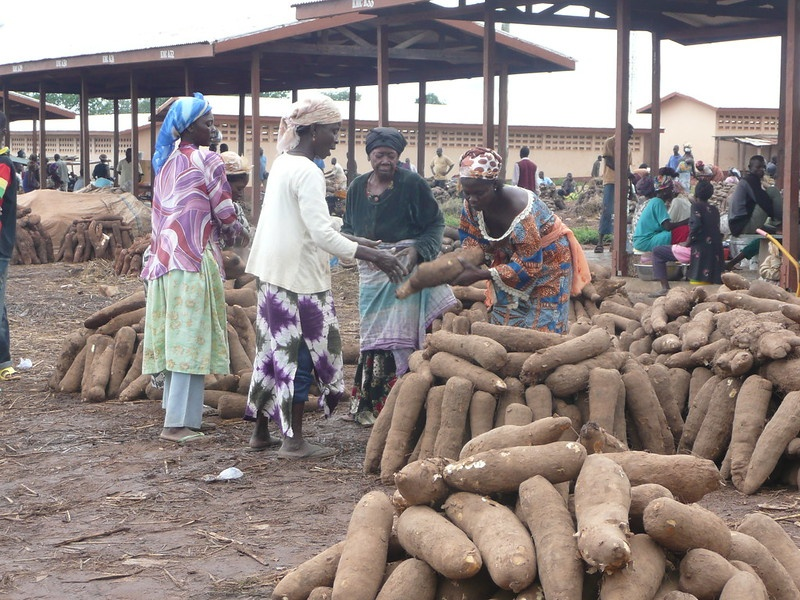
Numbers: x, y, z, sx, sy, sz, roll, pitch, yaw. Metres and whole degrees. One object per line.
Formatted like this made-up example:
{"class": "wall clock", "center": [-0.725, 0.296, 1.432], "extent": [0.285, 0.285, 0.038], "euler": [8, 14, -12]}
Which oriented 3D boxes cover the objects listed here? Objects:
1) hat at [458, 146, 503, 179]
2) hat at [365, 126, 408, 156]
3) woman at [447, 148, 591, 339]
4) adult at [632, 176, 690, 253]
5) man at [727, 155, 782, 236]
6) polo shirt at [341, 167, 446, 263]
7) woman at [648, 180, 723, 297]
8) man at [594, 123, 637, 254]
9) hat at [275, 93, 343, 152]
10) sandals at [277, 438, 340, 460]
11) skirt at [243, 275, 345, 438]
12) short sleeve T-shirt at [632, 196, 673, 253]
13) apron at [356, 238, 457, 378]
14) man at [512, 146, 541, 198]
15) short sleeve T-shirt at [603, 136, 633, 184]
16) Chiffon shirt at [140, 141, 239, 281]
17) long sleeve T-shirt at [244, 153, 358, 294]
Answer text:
{"class": "hat", "center": [0.549, -0.935, 6.180], "extent": [0.184, 0.227, 0.264], "euler": [1, 5, 3]}
{"class": "hat", "center": [-0.112, -1.241, 7.076], "extent": [0.211, 0.168, 0.265], "euler": [2, -1, 6]}
{"class": "woman", "center": [0.834, -0.400, 6.468], "extent": [0.809, 1.390, 0.426], "euler": [-3, 11, 3]}
{"class": "adult", "center": [3.659, -1.086, 12.653], "extent": [0.872, 1.241, 0.824], "euler": [-10, 7, -35]}
{"class": "man", "center": [4.988, -1.458, 12.587], "extent": [0.756, 1.143, 0.565], "euler": [-9, 13, 11]}
{"class": "polo shirt", "center": [-0.111, -0.726, 7.339], "extent": [0.865, 0.810, 0.477], "euler": [6, 18, 17]}
{"class": "woman", "center": [3.690, -0.791, 11.659], "extent": [0.746, 1.506, 0.860], "euler": [-1, 4, -13]}
{"class": "man", "center": [3.896, -2.030, 16.017], "extent": [0.655, 2.258, 0.550], "euler": [-1, 9, -29]}
{"class": "hat", "center": [-0.673, -1.333, 6.584], "extent": [0.446, 0.462, 0.355], "euler": [-4, 24, -7]}
{"class": "sandals", "center": [-0.693, 1.137, 6.829], "extent": [0.452, 0.243, 0.168], "euler": [-3, -3, -2]}
{"class": "skirt", "center": [-0.808, 0.329, 6.925], "extent": [0.643, 1.208, 0.942], "euler": [-2, 9, 1]}
{"class": "short sleeve T-shirt", "center": [3.491, -1.037, 12.609], "extent": [0.451, 0.836, 0.697], "euler": [2, -2, -15]}
{"class": "apron", "center": [0.031, 0.073, 6.907], "extent": [0.908, 1.287, 0.538], "euler": [-2, -5, 7]}
{"class": "man", "center": [2.446, -2.272, 17.857], "extent": [0.479, 1.521, 0.410], "euler": [-7, 18, -19]}
{"class": "short sleeve T-shirt", "center": [3.771, -2.484, 16.208], "extent": [0.286, 0.841, 0.633], "euler": [4, 1, 30]}
{"class": "Chiffon shirt", "center": [-1.633, -0.692, 7.031], "extent": [0.674, 0.996, 0.312], "euler": [-6, 12, -13]}
{"class": "long sleeve T-shirt", "center": [-0.804, -0.589, 6.841], "extent": [0.668, 1.066, 0.962], "euler": [-2, 12, -42]}
